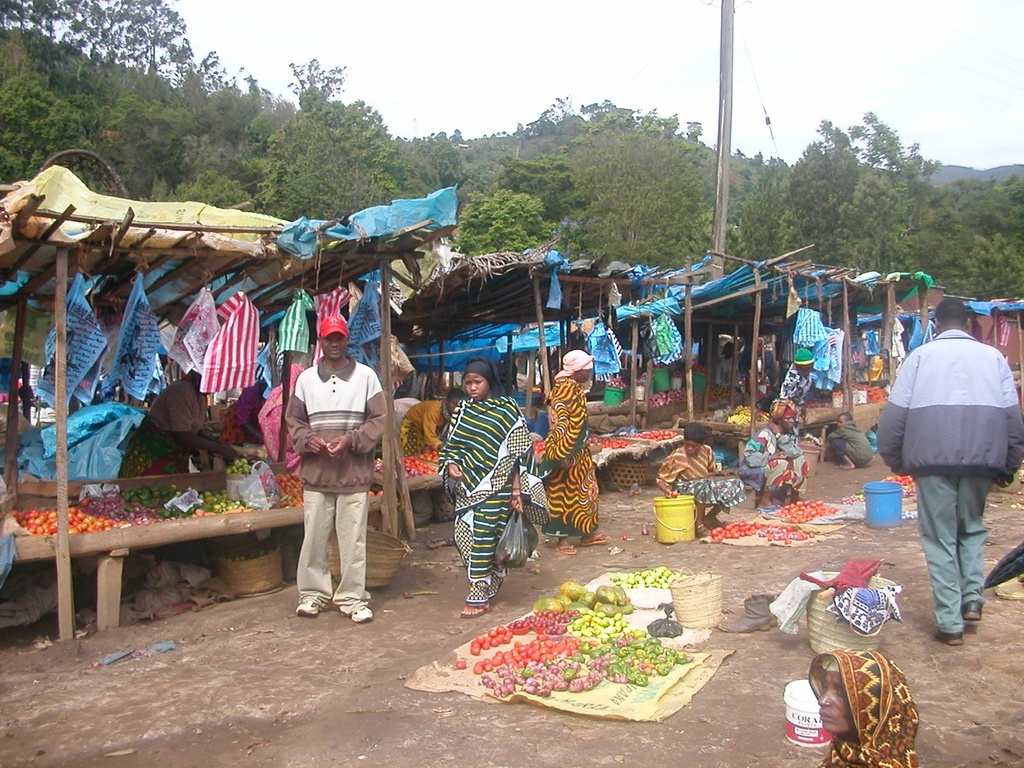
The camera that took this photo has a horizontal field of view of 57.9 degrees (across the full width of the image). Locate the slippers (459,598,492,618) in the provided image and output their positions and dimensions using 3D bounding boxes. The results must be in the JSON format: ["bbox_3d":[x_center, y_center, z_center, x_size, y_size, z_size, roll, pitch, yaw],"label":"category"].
[{"bbox_3d":[-0.291,1.798,7.410,0.110,0.103,0.237,-6,-13,32],"label":"slippers"}]

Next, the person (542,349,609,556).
[{"bbox_3d":[0.556,0.686,9.070,0.518,1.984,0.664,-2,7,3],"label":"person"}]

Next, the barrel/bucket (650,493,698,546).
[{"bbox_3d":[1.669,1.372,9.428,0.477,0.419,0.467,-1,-5,0],"label":"barrel/bucket"}]

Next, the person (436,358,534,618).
[{"bbox_3d":[-0.297,0.806,7.660,0.768,1.944,0.807,2,5,-6],"label":"person"}]

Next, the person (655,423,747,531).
[{"bbox_3d":[2.078,0.989,9.715,0.846,1.167,0.817,5,6,38],"label":"person"}]

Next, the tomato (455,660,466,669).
[{"bbox_3d":[-0.350,1.924,6.364,0.083,0.045,0.069,-2,7,2],"label":"tomato"}]

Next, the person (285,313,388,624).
[{"bbox_3d":[-1.408,0.647,7.591,0.790,2.421,0.786,3,5,-18],"label":"person"}]

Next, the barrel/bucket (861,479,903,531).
[{"bbox_3d":[3.861,1.254,9.718,0.432,0.441,0.423,-1,-4,0],"label":"barrel/bucket"}]

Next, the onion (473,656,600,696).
[{"bbox_3d":[0.203,1.927,6.066,0.460,0.086,0.301,-2,-2,-4],"label":"onion"}]

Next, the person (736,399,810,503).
[{"bbox_3d":[3.111,0.782,11.073,0.812,1.202,0.750,-1,4,11],"label":"person"}]

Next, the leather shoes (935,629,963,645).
[{"bbox_3d":[3.025,1.741,6.431,0.170,0.093,0.112,0,7,22],"label":"leather shoes"}]
